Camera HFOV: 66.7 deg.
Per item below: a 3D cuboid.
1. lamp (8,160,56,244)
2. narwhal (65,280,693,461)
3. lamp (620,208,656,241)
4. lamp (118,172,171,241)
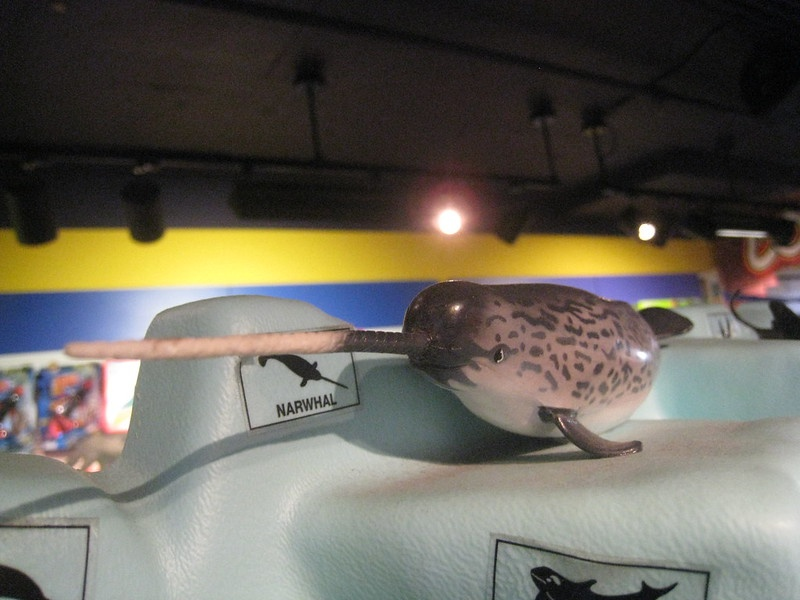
[{"bbox_3d":[-0.680,-0.177,1.122,0.071,0.140,0.089,-2,-2,-24],"label":"lamp"},{"bbox_3d":[0.013,0.045,0.561,0.461,0.103,0.212,1,-3,-26],"label":"narwhal"},{"bbox_3d":[0.624,-0.204,1.600,0.111,0.061,0.036,34,-10,-37],"label":"lamp"},{"bbox_3d":[-0.492,-0.187,1.171,0.074,0.075,0.125,8,-41,-6],"label":"lamp"}]
